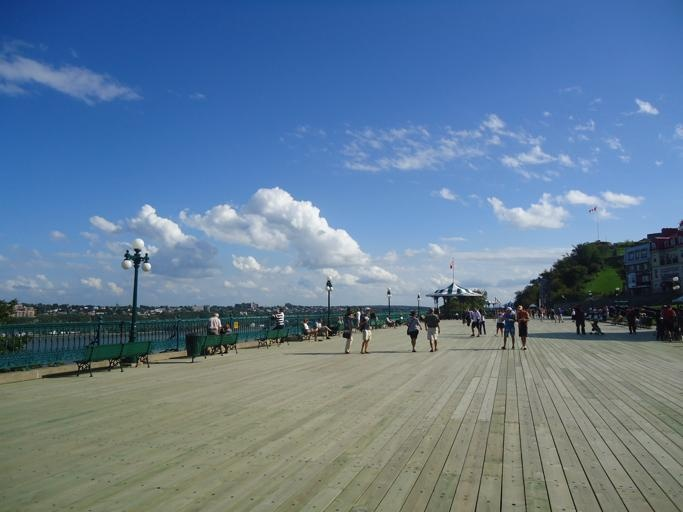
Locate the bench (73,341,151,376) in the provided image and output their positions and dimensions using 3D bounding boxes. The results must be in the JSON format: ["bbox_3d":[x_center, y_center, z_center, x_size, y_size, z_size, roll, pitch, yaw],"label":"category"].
[{"bbox_3d":[-7.494,3.387,14.784,1.984,0.722,0.612,-7,4,8],"label":"bench"}]

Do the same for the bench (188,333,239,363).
[{"bbox_3d":[-5.577,3.739,18.541,0.729,0.958,2.856,-4,-11,22],"label":"bench"}]

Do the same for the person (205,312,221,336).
[{"bbox_3d":[-5.709,2.966,19.503,0.476,0.949,0.455,3,-10,-16],"label":"person"}]

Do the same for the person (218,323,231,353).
[{"bbox_3d":[-5.435,3.799,20.190,0.584,1.022,1.531,0,-6,-1],"label":"person"}]
